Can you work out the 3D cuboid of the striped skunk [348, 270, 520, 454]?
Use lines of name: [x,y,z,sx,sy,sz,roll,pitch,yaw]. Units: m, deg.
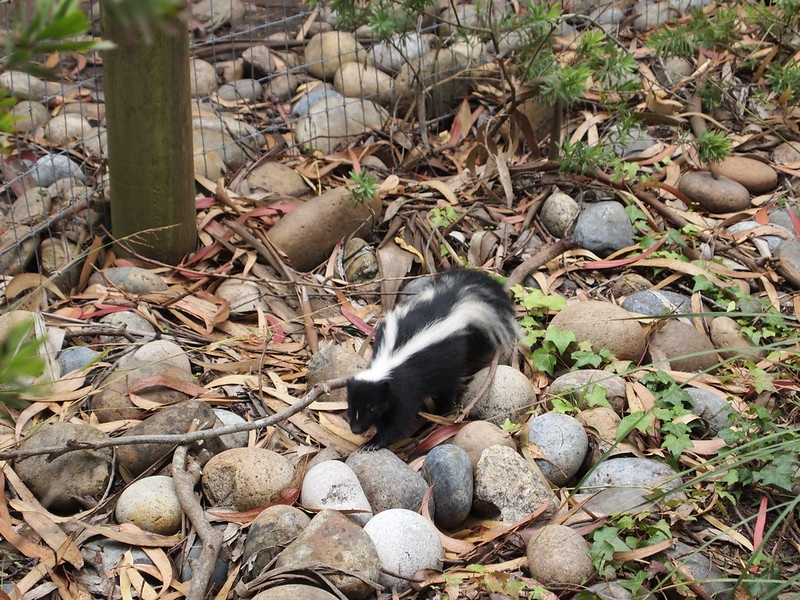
striped skunk: [0.188,0.293,4.331,0.470,0.709,1.387,26,46,33]
